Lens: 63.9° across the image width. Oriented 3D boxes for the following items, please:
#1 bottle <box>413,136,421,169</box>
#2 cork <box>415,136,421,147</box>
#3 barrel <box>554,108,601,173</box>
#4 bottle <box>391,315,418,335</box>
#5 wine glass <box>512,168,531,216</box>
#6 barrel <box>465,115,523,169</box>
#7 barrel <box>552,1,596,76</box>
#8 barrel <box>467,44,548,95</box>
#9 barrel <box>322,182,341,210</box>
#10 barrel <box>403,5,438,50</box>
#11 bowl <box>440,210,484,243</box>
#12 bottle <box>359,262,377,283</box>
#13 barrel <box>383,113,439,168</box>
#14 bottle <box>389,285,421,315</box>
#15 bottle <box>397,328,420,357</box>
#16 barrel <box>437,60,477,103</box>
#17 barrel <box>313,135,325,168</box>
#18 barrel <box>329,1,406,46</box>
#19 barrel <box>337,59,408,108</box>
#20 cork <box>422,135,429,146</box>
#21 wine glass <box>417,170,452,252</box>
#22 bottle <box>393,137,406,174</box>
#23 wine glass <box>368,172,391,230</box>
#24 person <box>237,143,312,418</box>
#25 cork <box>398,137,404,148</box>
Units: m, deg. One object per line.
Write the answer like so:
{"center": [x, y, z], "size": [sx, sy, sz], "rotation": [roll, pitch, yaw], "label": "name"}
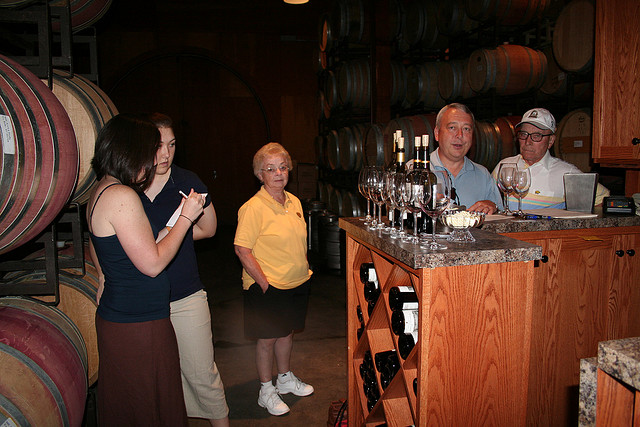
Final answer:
{"center": [0.604, -0.373, 3.147], "size": [0.039, 0.185, 0.164], "rotation": [0, 12, 11], "label": "bottle"}
{"center": [0.601, -0.436, 3.123], "size": [0.050, 0.061, 0.052], "rotation": [-1, 1, -5], "label": "cork"}
{"center": [3.038, -0.872, 6.054], "size": [0.239, 0.709, 0.643], "rotation": [-4, 12, -9], "label": "barrel"}
{"center": [0.489, 0.639, 2.970], "size": [0.192, 0.123, 0.119], "rotation": [-4, -13, 16], "label": "bottle"}
{"center": [1.440, -0.156, 3.674], "size": [0.136, 0.431, 0.145], "rotation": [9, 35, 33], "label": "wine glass"}
{"center": [2.186, -0.869, 6.460], "size": [0.736, 0.650, 0.582], "rotation": [-2, 12, 3], "label": "barrel"}
{"center": [2.943, -2.013, 5.860], "size": [0.235, 0.799, 0.588], "rotation": [-5, 12, -15], "label": "barrel"}
{"center": [2.348, -1.767, 6.652], "size": [0.954, 0.783, 0.692], "rotation": [-8, 20, -11], "label": "barrel"}
{"center": [0.173, -0.317, 8.883], "size": [0.384, 0.442, 0.408], "rotation": [0, 1, 10], "label": "barrel"}
{"center": [1.458, -2.664, 7.464], "size": [0.532, 0.581, 0.553], "rotation": [3, 1, -2], "label": "barrel"}
{"center": [0.809, 0.071, 2.944], "size": [0.191, 0.139, 0.199], "rotation": [0, -1, 0], "label": "bowl"}
{"center": [0.319, 0.390, 3.362], "size": [0.135, 0.113, 0.118], "rotation": [3, -21, -30], "label": "bottle"}
{"center": [1.133, -0.903, 6.465], "size": [0.653, 0.626, 0.766], "rotation": [-1, 12, 7], "label": "barrel"}
{"center": [0.493, 0.517, 3.012], "size": [0.162, 0.155, 0.138], "rotation": [-1, 12, 7], "label": "bottle"}
{"center": [0.508, 0.745, 2.964], "size": [0.108, 0.152, 0.084], "rotation": [-1, 12, 8], "label": "bottle"}
{"center": [1.848, -1.827, 7.190], "size": [0.715, 0.582, 0.515], "rotation": [-6, 14, -14], "label": "barrel"}
{"center": [0.031, -1.120, 9.300], "size": [0.170, 0.571, 0.348], "rotation": [-4, 12, -9], "label": "barrel"}
{"center": [0.722, -2.772, 7.466], "size": [0.731, 0.564, 0.563], "rotation": [-2, 7, 3], "label": "barrel"}
{"center": [0.779, -1.919, 7.552], "size": [1.041, 0.845, 0.782], "rotation": [-3, 35, -3], "label": "barrel"}
{"center": [0.636, -0.436, 3.063], "size": [0.052, 0.064, 0.055], "rotation": [0, 5, 17], "label": "cork"}
{"center": [0.644, -0.038, 2.874], "size": [0.178, 0.400, 0.409], "rotation": [0, 12, 12], "label": "wine glass"}
{"center": [0.511, -0.380, 3.267], "size": [0.076, 0.210, 0.232], "rotation": [-1, 12, 7], "label": "bottle"}
{"center": [0.391, -0.132, 3.191], "size": [0.104, 0.234, 0.286], "rotation": [-5, 12, -12], "label": "wine glass"}
{"center": [-0.339, 0.449, 4.627], "size": [0.553, 2.162, 1.431], "rotation": [-2, 12, 1], "label": "person"}
{"center": [0.505, -0.439, 3.193], "size": [0.023, 0.063, 0.048], "rotation": [-3, 12, -3], "label": "cork"}
